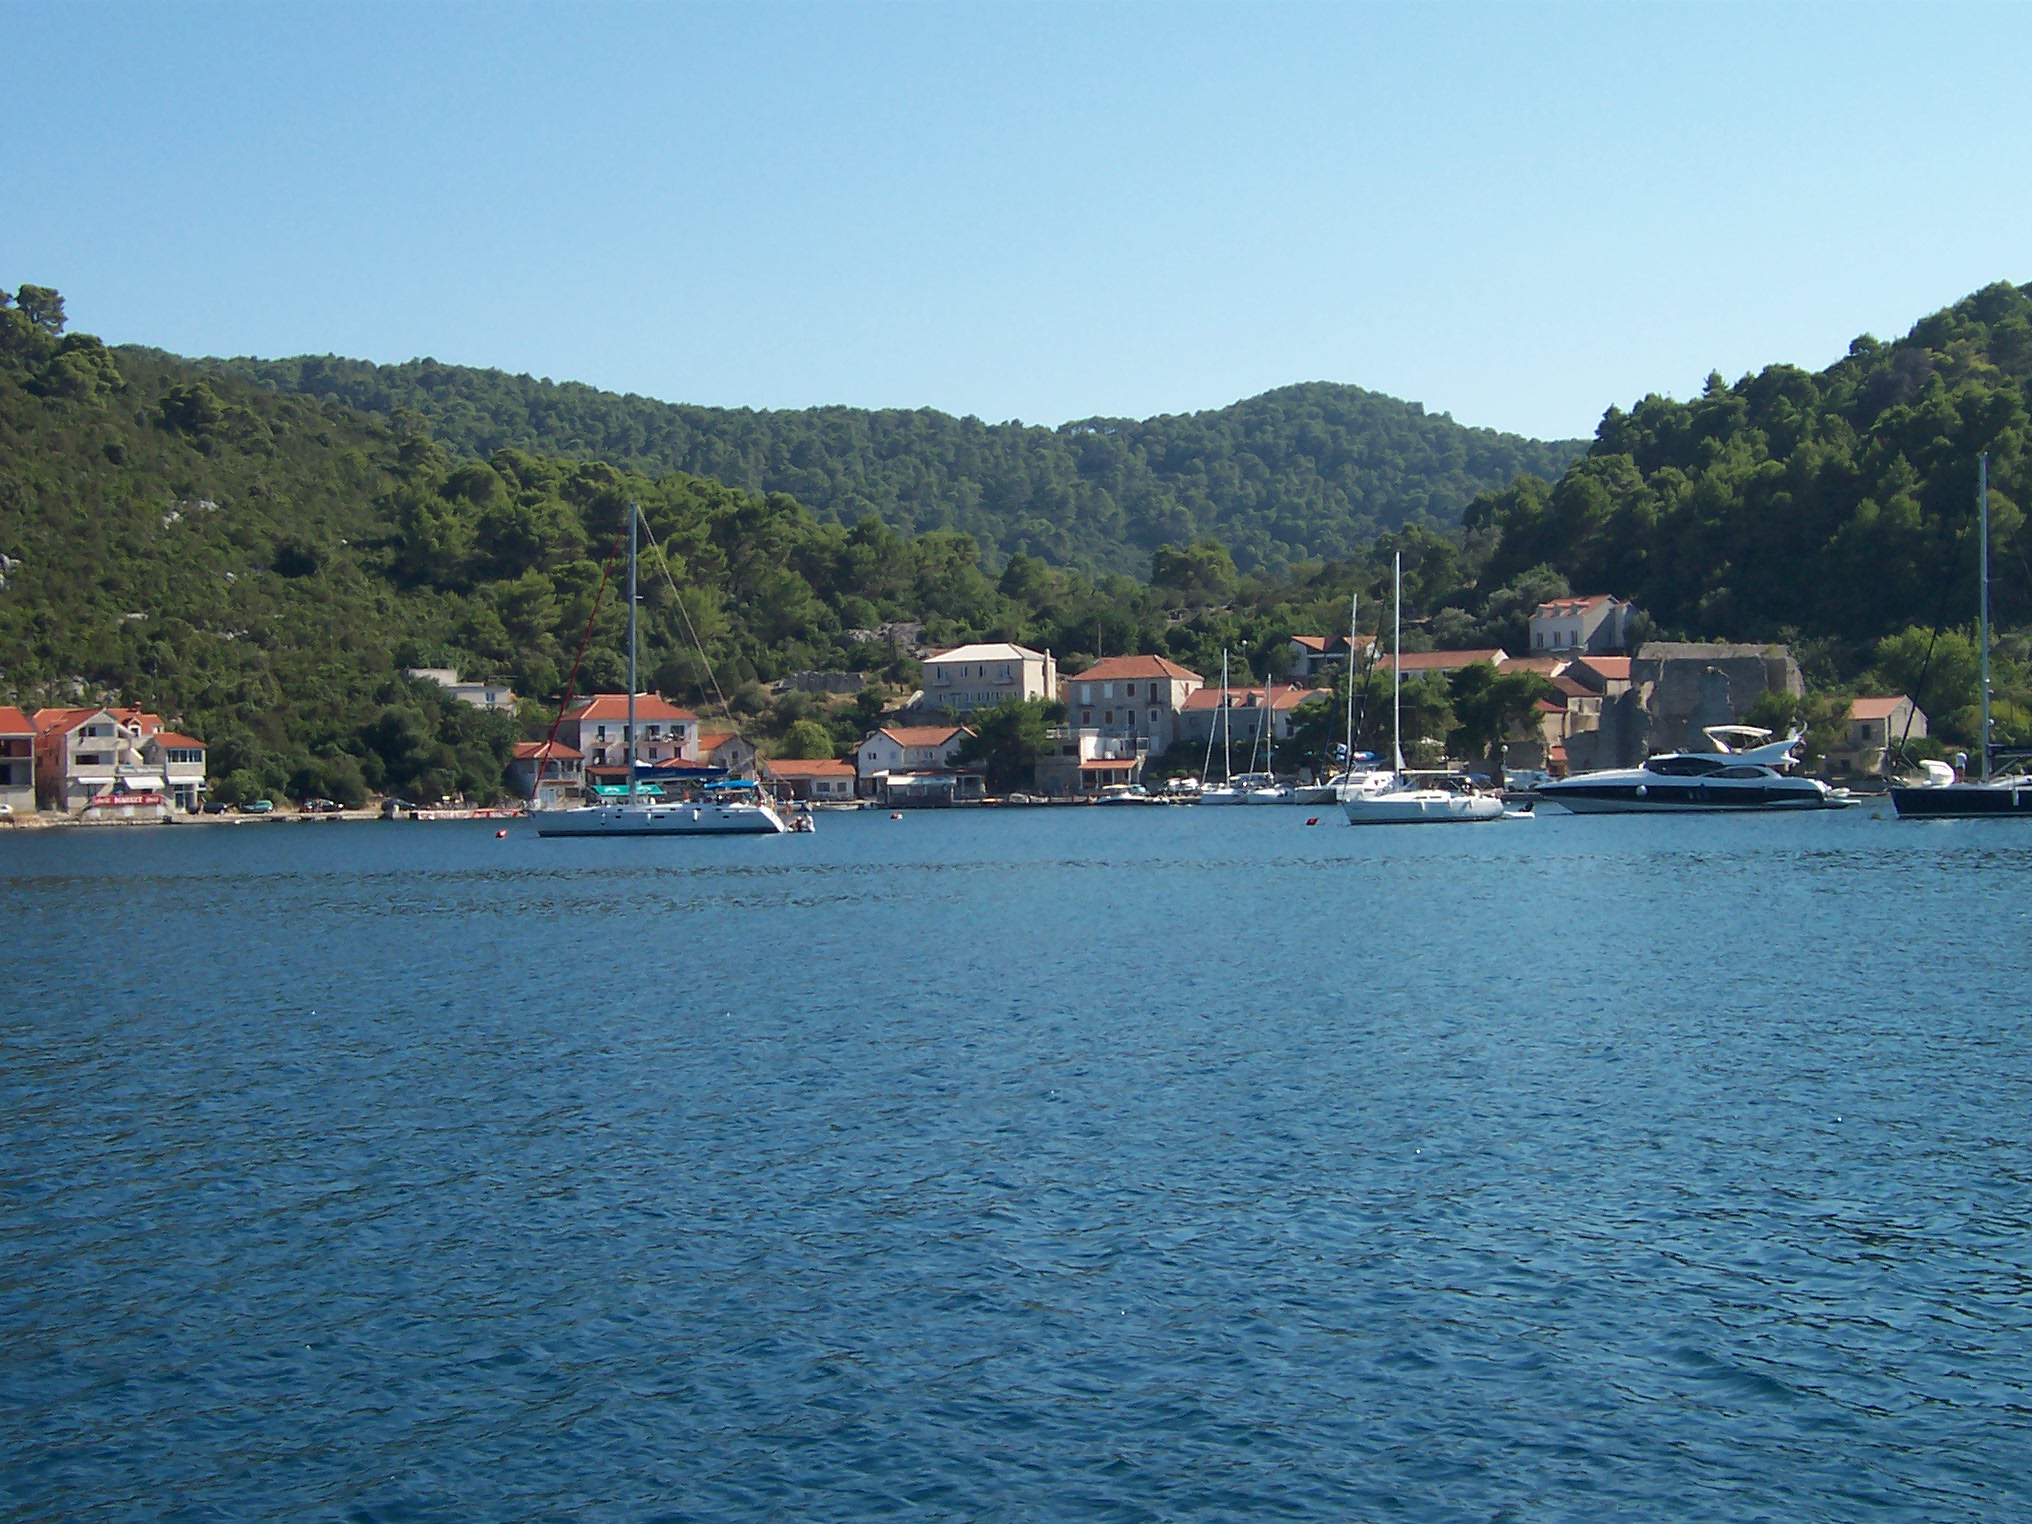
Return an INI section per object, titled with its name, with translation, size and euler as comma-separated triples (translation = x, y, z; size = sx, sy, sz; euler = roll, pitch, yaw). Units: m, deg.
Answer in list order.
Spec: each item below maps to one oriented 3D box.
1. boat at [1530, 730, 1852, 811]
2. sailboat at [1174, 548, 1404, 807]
[boat]
translation = 37.751, 0.256, 151.288
size = 14.753, 4.429, 15.181
euler = -6, 7, -26
[sailboat]
translation = 18.576, -4.946, 189.952
size = 13.574, 16.428, 72.501
euler = 0, 5, 5
